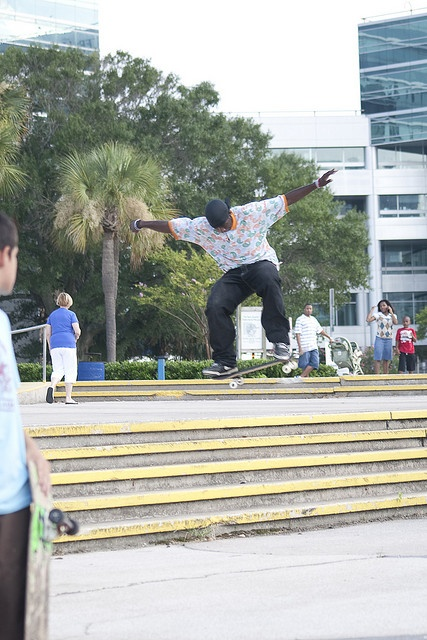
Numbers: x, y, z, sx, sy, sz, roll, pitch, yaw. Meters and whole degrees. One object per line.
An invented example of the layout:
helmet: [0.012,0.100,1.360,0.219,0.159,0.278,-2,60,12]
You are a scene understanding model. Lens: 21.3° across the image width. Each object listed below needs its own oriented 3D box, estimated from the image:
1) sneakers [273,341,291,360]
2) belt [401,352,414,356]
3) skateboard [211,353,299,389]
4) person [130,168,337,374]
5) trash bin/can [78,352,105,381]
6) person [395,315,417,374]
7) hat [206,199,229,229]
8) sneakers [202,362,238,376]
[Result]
sneakers: [0.518,0.231,8.477,0.065,0.089,0.189,-5,8,-45]
belt: [2.756,0.479,16.239,0.207,0.052,0.118,-3,2,-34]
skateboard: [0.476,0.579,12.403,0.999,0.162,0.288,-21,-8,8]
person: [0.205,-0.277,8.310,1.608,1.349,0.574,-11,-15,8]
trash bin/can: [-2.167,0.904,20.341,0.420,0.323,0.810,-2,2,-14]
person: [2.757,0.399,16.293,0.255,0.915,0.252,-1,17,6]
hat: [0.028,-0.756,8.105,0.133,0.200,0.161,-5,-34,16]
sneakers: [0.068,0.377,8.611,0.298,0.147,0.103,3,-1,-19]
